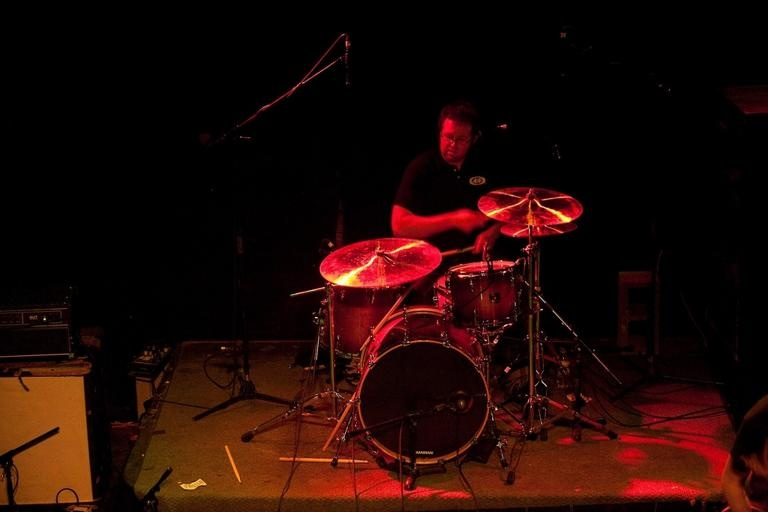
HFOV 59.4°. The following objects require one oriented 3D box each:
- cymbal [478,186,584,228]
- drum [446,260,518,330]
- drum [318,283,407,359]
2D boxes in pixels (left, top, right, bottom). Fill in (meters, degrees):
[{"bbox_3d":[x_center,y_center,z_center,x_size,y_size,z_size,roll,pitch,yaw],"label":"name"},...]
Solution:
[{"bbox_3d":[1.234,-0.417,5.748,0.514,0.120,0.494,12,29,11],"label":"cymbal"},{"bbox_3d":[0.828,0.286,5.596,0.600,0.419,0.580,-4,5,0],"label":"drum"},{"bbox_3d":[-0.191,0.579,6.284,0.669,0.600,0.651,1,5,11],"label":"drum"}]
